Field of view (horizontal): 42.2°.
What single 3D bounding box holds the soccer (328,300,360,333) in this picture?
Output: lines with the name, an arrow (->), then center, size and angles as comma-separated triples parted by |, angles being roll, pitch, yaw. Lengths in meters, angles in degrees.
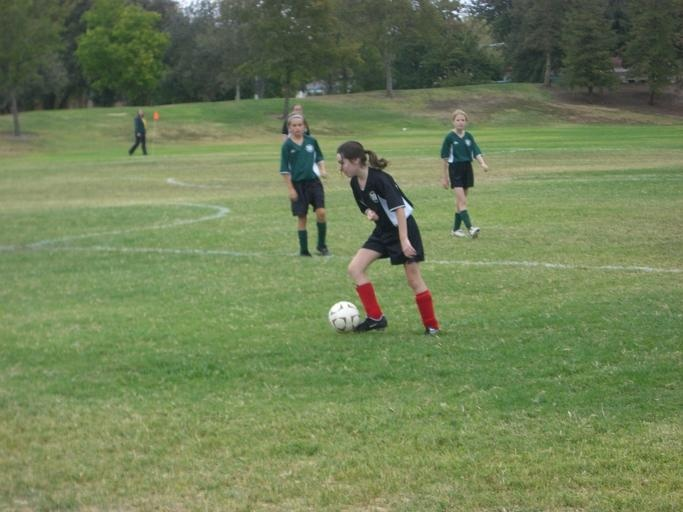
soccer -> 0.026, 0.752, 10.850 | 0.351, 0.365, 0.342 | -1, -2, 1

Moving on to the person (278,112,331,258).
person -> -0.574, -1.160, 14.227 | 0.748, 2.223, 1.022 | 0, 8, -3

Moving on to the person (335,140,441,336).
person -> 0.545, -0.200, 10.632 | 1.137, 2.309, 0.556 | 1, 8, 5

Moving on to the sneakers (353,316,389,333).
sneakers -> 0.356, 0.847, 10.894 | 0.441, 0.206, 0.165 | 1, 4, -1

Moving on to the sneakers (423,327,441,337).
sneakers -> 1.097, 0.914, 10.657 | 0.098, 0.076, 0.224 | 6, -10, -23

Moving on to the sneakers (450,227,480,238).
sneakers -> 2.139, -0.381, 15.090 | 0.186, 0.218, 0.490 | -2, -3, -38
